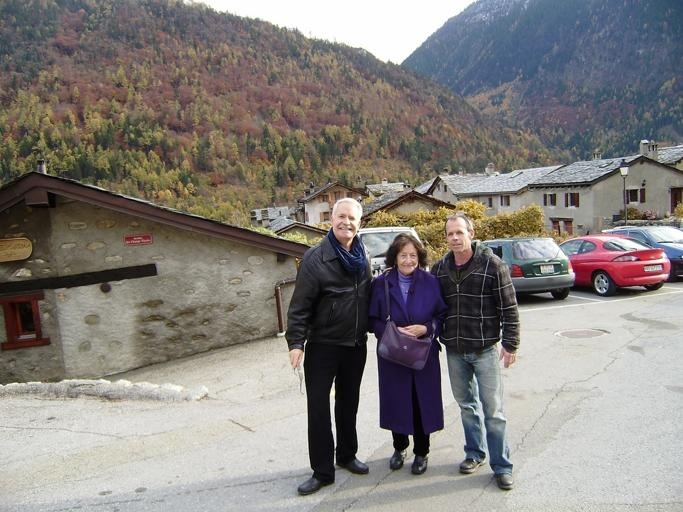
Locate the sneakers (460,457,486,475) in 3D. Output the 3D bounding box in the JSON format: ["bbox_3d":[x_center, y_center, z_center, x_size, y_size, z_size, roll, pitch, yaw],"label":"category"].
[{"bbox_3d":[1.279,2.048,5.499,0.103,0.128,0.308,-9,-10,44],"label":"sneakers"}]

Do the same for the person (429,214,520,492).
[{"bbox_3d":[1.372,0.845,5.517,0.654,2.514,0.930,-5,7,-16],"label":"person"}]

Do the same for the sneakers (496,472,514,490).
[{"bbox_3d":[1.513,2.088,5.236,0.164,0.112,0.149,0,8,21],"label":"sneakers"}]

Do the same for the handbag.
[{"bbox_3d":[0.630,0.654,5.507,0.574,0.934,0.293,-2,7,9],"label":"handbag"}]

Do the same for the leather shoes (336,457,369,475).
[{"bbox_3d":[0.112,2.111,5.653,0.305,0.125,0.118,-3,-2,34],"label":"leather shoes"}]

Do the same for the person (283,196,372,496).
[{"bbox_3d":[-0.075,0.835,5.463,0.920,2.694,0.502,-5,7,-18],"label":"person"}]

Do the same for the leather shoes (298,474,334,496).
[{"bbox_3d":[-0.248,2.169,5.367,0.332,0.128,0.125,0,-2,-34],"label":"leather shoes"}]
